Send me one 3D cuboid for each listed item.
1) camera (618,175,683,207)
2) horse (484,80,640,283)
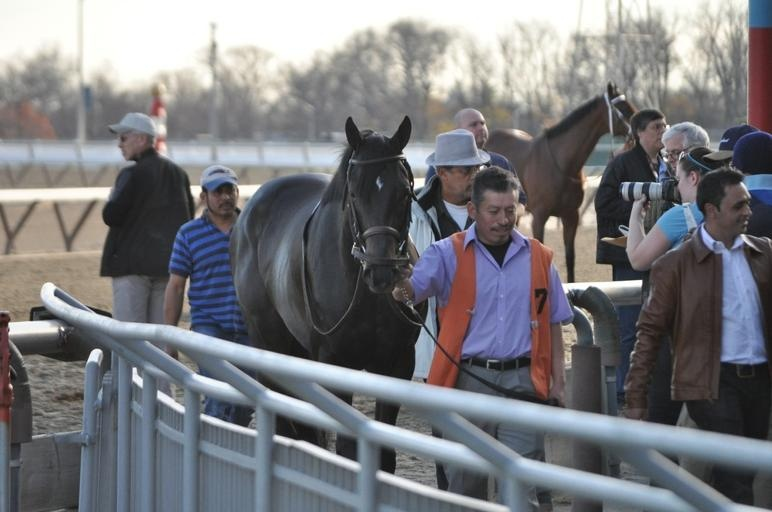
[{"bbox_3d":[4.088,-1.023,27.318,0.658,0.310,0.426,-1,-26,15],"label":"camera"},{"bbox_3d":[2.957,-1.046,33.523,1.160,3.692,5.253,5,-3,-35],"label":"horse"}]
